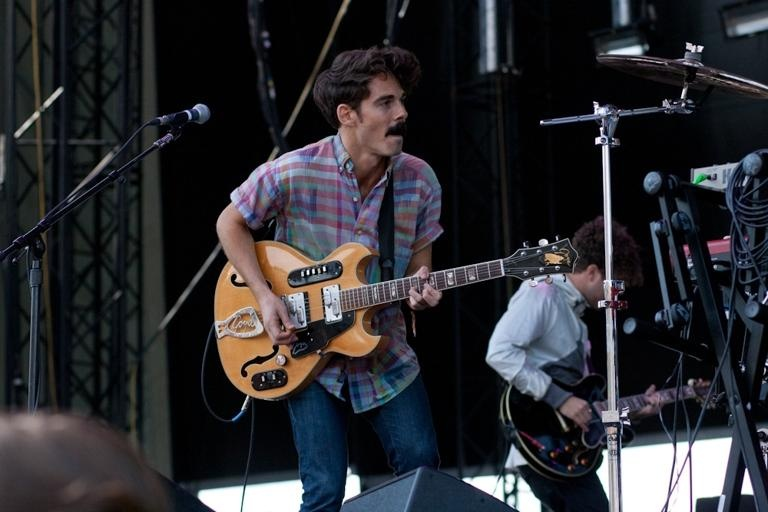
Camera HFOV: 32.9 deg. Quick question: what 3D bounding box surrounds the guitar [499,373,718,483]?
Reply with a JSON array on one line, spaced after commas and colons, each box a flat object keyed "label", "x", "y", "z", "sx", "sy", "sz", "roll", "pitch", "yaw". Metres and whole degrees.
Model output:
[{"label": "guitar", "x": 1.632, "y": 1.261, "z": 10.046, "sx": 1.703, "sy": 0.739, "sz": 0.209, "roll": -12, "pitch": -1, "yaw": -10}]

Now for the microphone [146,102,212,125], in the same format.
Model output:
[{"label": "microphone", "x": -1.449, "y": -0.992, "z": 9.321, "sx": 0.509, "sy": 0.167, "sz": 0.161, "roll": -11, "pitch": 11, "yaw": -30}]

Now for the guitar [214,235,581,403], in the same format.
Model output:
[{"label": "guitar", "x": 0.095, "y": 0.337, "z": 9.331, "sx": 2.527, "sy": 1.108, "sz": 0.293, "roll": -12, "pitch": -10, "yaw": 11}]
